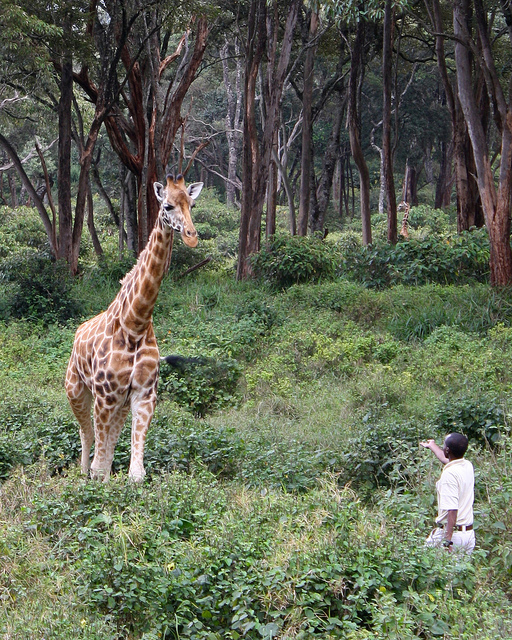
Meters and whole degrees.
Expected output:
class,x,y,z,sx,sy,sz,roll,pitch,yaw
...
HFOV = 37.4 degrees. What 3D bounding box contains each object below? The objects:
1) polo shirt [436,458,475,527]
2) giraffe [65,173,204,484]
class,x,y,z,sx,sy,sz,roll,pitch,yaw
polo shirt,1.354,1.149,5.060,0.193,0.463,0.378,-6,-5,43
giraffe,-1.052,0.103,6.238,0.734,2.491,1.798,-1,1,-38
